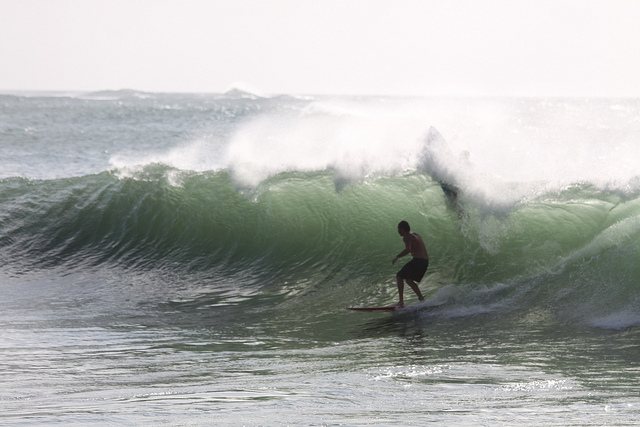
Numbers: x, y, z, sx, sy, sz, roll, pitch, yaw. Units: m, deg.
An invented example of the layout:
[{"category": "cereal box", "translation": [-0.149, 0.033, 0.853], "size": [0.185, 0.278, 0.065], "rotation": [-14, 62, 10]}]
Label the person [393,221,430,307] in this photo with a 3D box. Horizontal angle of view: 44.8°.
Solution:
[{"category": "person", "translation": [1.709, 0.958, 14.696], "size": [0.647, 1.580, 0.616], "rotation": [4, 21, 6]}]
